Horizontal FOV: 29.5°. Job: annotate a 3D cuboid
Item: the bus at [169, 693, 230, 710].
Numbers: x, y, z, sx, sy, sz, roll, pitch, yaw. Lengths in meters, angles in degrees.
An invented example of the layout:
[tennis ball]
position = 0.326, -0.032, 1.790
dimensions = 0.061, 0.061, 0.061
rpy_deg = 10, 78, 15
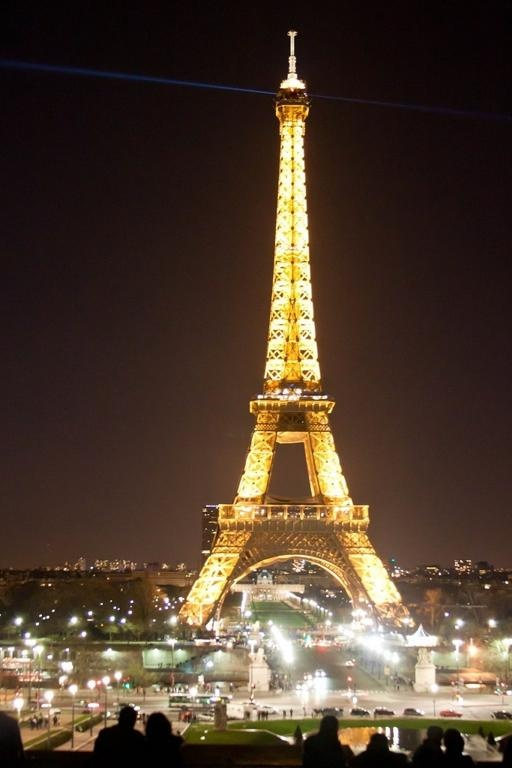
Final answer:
[bus]
position = -2.899, 14.987, 45.764
dimensions = 2.335, 0.867, 3.828
rpy_deg = 7, -22, -8
